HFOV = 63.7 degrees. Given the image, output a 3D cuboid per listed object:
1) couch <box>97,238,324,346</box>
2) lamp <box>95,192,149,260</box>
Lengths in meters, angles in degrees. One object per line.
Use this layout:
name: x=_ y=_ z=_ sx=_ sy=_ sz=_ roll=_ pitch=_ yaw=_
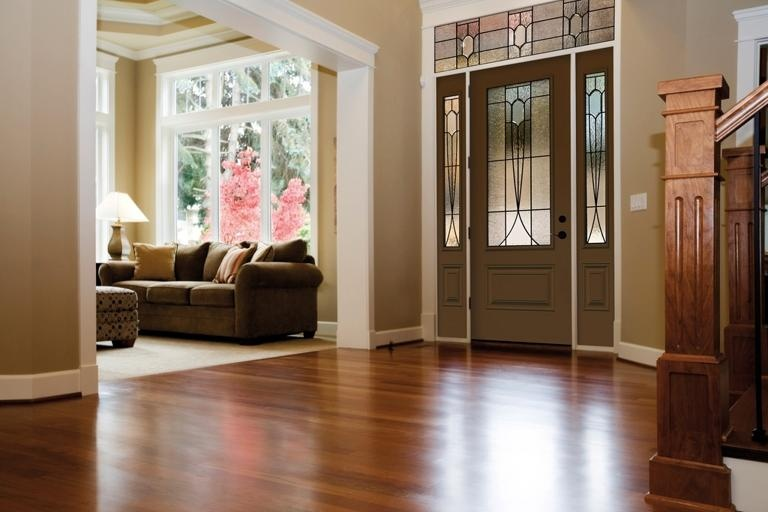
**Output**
couch: x=-1.869 y=0.350 z=6.930 sx=2.191 sy=1.081 sz=0.983 roll=2 pitch=3 yaw=33
lamp: x=-3.421 y=-0.357 z=7.911 sx=0.714 sy=0.849 sz=0.665 roll=-9 pitch=-5 yaw=38
